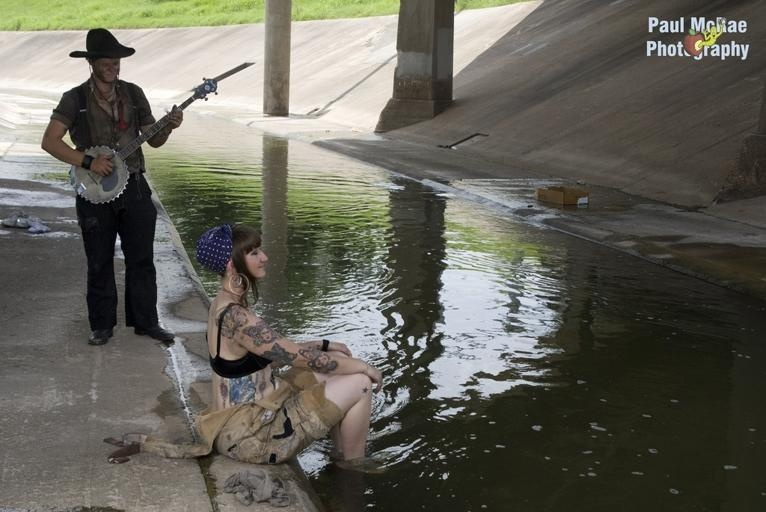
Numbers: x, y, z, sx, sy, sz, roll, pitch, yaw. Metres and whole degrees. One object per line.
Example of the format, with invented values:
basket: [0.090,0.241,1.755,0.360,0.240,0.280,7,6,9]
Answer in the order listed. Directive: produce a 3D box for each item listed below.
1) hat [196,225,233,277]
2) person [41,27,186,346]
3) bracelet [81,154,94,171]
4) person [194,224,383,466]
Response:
hat: [-1.144,-0.043,5.183,0.234,0.340,0.228,1,18,-9]
person: [-2.290,-0.579,6.493,1.105,2.697,0.966,1,20,-11]
bracelet: [-2.448,-0.781,6.315,0.102,0.125,0.064,6,19,8]
person: [-0.629,0.643,5.244,1.257,1.713,0.773,1,20,-9]
